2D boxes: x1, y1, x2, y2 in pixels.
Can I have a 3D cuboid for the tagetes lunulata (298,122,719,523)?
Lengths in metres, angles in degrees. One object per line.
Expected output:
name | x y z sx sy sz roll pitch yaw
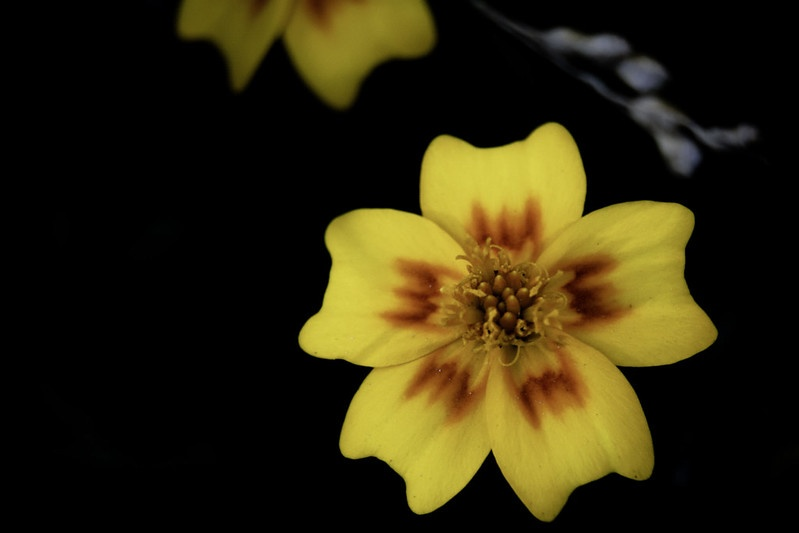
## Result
tagetes lunulata | 0.202 0.117 1.790 0.744 0.366 0.774 28 69 29
